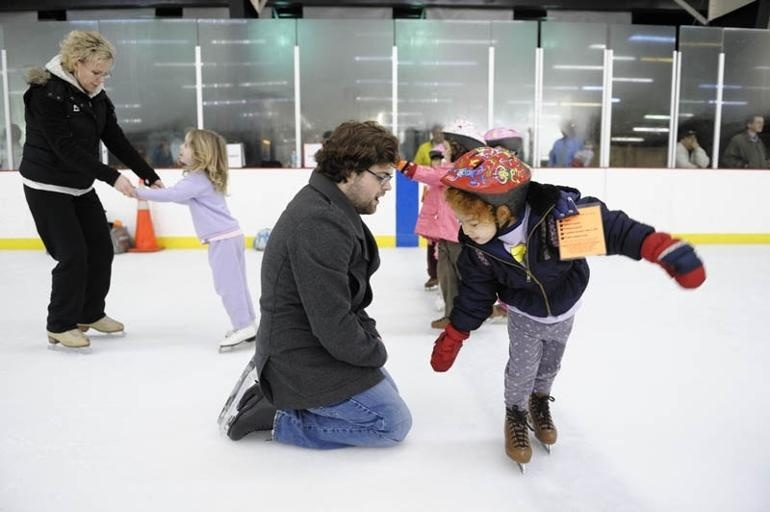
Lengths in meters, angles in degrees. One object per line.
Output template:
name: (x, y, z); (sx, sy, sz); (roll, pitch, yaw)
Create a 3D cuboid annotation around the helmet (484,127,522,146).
helmet: (1.155, -1.182, 6.720); (0.343, 0.181, 0.275); (-3, 10, 17)

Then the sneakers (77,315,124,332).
sneakers: (-2.479, 0.606, 6.102); (0.429, 0.158, 0.155); (-1, 6, -4)

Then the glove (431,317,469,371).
glove: (0.411, 0.591, 4.536); (0.189, 0.352, 0.150); (31, 1, 17)

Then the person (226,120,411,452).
person: (-0.425, 0.220, 4.539); (1.194, 2.161, 0.439); (0, 12, 1)

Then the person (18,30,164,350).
person: (-2.562, -0.573, 5.883); (0.934, 2.591, 0.701); (-8, 15, -31)

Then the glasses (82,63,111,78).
glasses: (-2.334, -1.542, 5.671); (0.144, 0.121, 0.242); (6, 14, 26)

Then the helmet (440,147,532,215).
helmet: (0.649, -0.499, 4.459); (0.646, 0.399, 0.504); (-8, 28, -32)

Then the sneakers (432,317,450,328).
sneakers: (0.502, 0.599, 6.229); (0.069, 0.079, 0.184); (-8, 8, -38)
